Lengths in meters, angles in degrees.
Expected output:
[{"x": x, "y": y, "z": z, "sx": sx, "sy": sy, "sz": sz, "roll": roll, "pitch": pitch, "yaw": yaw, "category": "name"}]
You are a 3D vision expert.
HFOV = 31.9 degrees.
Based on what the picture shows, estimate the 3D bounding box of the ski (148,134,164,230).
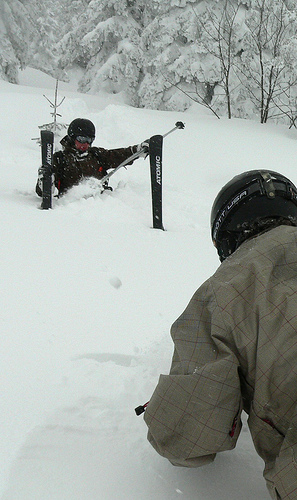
[{"x": 0.083, "y": -0.664, "z": 5.122, "sx": 0.144, "sy": 0.916, "sz": 0.071, "roll": 1, "pitch": -5, "yaw": -9, "category": "ski"}]

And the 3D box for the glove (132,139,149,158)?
[{"x": -0.083, "y": -1.103, "z": 5.584, "sx": 0.212, "sy": 0.077, "sz": 0.158, "roll": -24, "pitch": -15, "yaw": 28, "category": "glove"}]

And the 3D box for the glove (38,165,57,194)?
[{"x": -0.966, "y": -0.676, "z": 4.921, "sx": 0.210, "sy": 0.237, "sz": 0.235, "roll": 6, "pitch": -14, "yaw": 2, "category": "glove"}]
